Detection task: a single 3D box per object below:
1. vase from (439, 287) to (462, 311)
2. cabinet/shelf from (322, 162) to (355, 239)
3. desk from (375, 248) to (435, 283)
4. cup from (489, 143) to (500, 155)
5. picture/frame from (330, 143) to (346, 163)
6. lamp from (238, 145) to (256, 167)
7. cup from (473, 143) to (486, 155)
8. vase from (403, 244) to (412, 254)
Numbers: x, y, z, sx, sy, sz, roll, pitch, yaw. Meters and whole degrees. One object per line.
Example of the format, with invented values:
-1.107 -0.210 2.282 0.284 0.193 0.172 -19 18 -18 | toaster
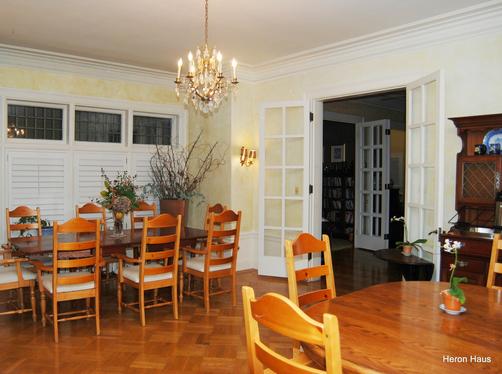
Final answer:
1.280 0.724 2.523 0.120 0.099 0.126 0 2 -35 | vase
2.167 0.326 9.641 0.863 1.902 0.276 5 8 39 | cabinet/shelf
1.712 0.959 4.432 0.540 0.364 0.590 -3 6 -37 | desk
2.675 -0.408 4.249 0.117 0.113 0.118 1 2 0 | cup
2.186 -0.860 9.628 0.038 0.504 0.464 -5 10 -43 | picture/frame
-0.044 -0.513 6.685 0.147 0.356 0.325 7 8 45 | lamp
2.560 -0.412 4.316 0.122 0.126 0.080 2 6 18 | cup
1.797 0.711 4.446 0.099 0.074 0.099 2 -1 18 | vase
